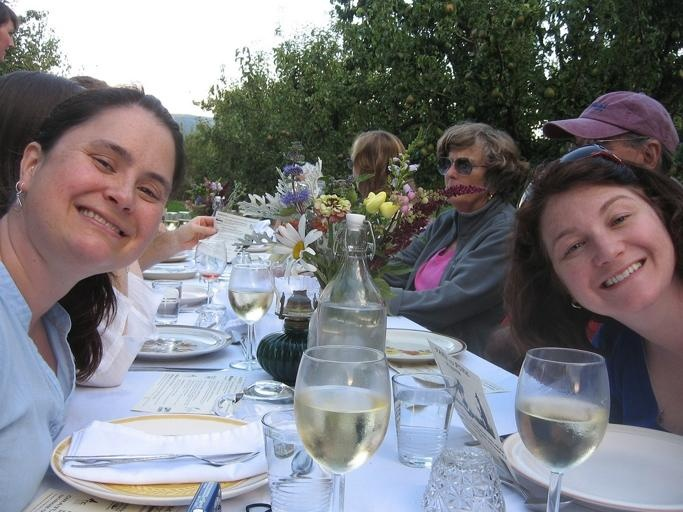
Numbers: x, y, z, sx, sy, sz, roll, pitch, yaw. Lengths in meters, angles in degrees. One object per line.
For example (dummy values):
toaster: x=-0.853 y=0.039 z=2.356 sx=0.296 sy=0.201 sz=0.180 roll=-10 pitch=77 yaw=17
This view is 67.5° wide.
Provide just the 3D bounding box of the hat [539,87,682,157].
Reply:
hat: x=1.655 y=-0.789 z=3.117 sx=0.651 sy=0.355 sz=0.422 roll=20 pitch=3 yaw=1

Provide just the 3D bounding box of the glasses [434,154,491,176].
glasses: x=0.943 y=-0.736 z=4.155 sx=0.228 sy=0.078 sz=0.218 roll=11 pitch=-1 yaw=-37

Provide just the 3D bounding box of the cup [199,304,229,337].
cup: x=-0.681 y=0.323 z=2.701 sx=0.128 sy=0.219 sz=0.132 roll=1 pitch=-7 yaw=0

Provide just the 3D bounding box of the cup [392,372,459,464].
cup: x=0.219 y=0.460 z=1.438 sx=0.203 sy=0.259 sz=0.200 roll=0 pitch=2 yaw=0

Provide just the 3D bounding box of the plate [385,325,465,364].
plate: x=0.360 y=0.389 z=2.242 sx=0.352 sy=0.052 sz=0.365 roll=5 pitch=6 yaw=10

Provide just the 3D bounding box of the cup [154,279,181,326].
cup: x=-0.875 y=0.233 z=2.557 sx=0.159 sy=0.199 sz=0.148 roll=0 pitch=-3 yaw=0

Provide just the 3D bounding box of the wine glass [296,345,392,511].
wine glass: x=0.001 y=0.370 z=1.099 sx=0.200 sy=0.332 sz=0.154 roll=2 pitch=7 yaw=3

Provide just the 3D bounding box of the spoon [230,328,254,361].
spoon: x=-0.441 y=0.357 z=2.259 sx=0.068 sy=0.060 sz=0.422 roll=7 pitch=14 yaw=-19

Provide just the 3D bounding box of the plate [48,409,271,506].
plate: x=-0.432 y=0.501 z=1.308 sx=0.546 sy=0.106 sz=0.394 roll=3 pitch=6 yaw=11

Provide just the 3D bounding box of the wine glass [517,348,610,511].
wine glass: x=0.508 y=0.407 z=1.195 sx=0.194 sy=0.326 sz=0.158 roll=5 pitch=7 yaw=27
